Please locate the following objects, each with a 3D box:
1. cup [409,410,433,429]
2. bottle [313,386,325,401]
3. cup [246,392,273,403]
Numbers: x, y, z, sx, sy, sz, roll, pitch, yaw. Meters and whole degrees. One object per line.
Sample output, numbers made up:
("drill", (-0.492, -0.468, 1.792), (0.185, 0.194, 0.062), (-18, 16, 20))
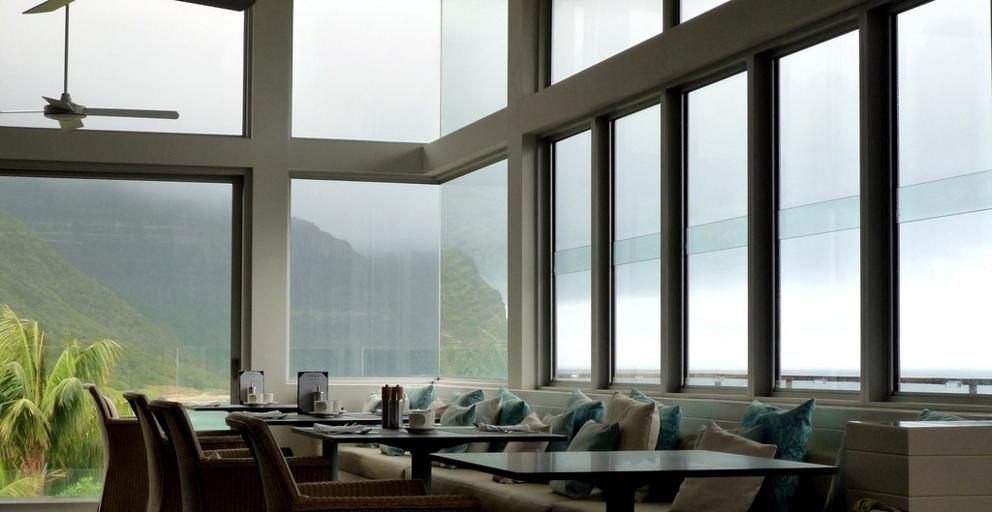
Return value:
("cup", (-0.543, 1.173, 5.157), (0.183, 0.089, 0.123), (1, -4, -10))
("bottle", (-1.611, 1.250, 6.480), (0.101, 0.107, 0.119), (0, -8, -1))
("cup", (-2.549, 1.522, 7.672), (0.160, 0.075, 0.215), (3, -14, -22))
